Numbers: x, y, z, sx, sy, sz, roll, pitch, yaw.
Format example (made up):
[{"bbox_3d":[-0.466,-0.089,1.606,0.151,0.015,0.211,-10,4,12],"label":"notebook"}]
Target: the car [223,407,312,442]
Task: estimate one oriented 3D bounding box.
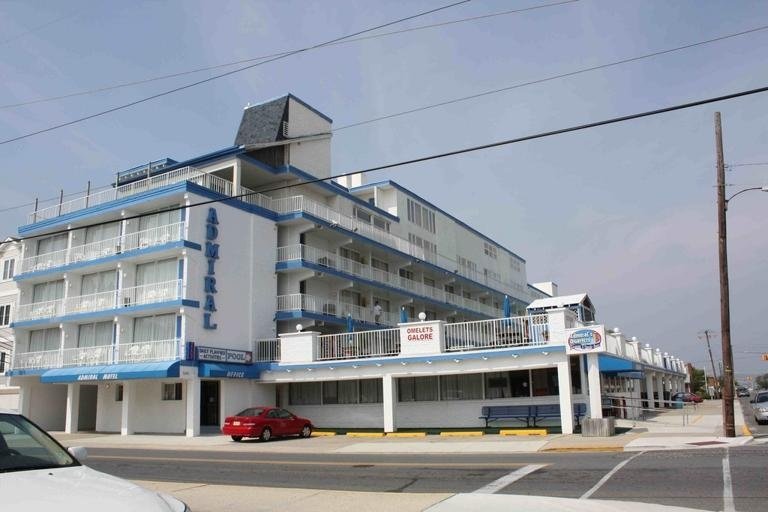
[{"bbox_3d":[-5.630,8.101,33.262,1.880,1.113,3.977,-6,-9,38],"label":"car"}]
